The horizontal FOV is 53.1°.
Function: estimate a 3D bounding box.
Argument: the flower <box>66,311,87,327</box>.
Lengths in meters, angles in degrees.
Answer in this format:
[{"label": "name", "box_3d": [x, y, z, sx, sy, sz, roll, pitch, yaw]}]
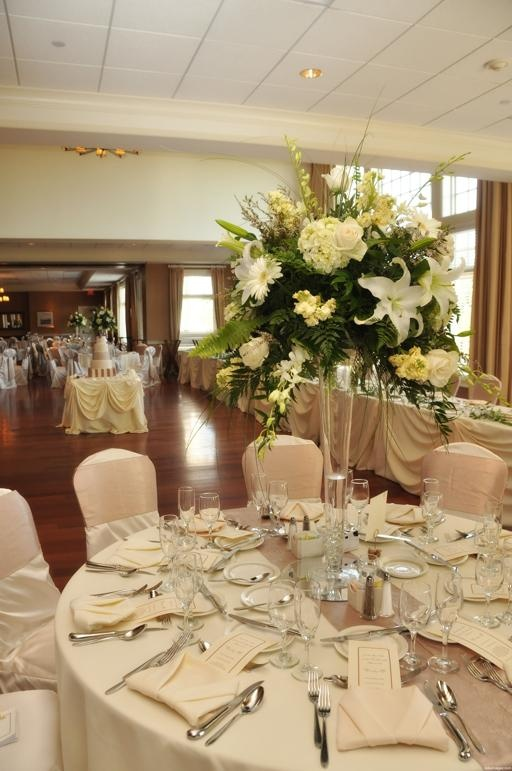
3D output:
[{"label": "flower", "box_3d": [-5.593, -2.047, 16.027, 0.402, 0.434, 1.009, -3, 2, -24]}]

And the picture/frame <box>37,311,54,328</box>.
[{"label": "picture/frame", "box_3d": [-10.871, -3.373, 26.401, 0.763, 0.981, 0.067, 2, -9, -21]}]

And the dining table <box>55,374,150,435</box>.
[{"label": "dining table", "box_3d": [-2.211, 0.287, 7.406, 0.943, 0.680, 0.910, -1, 6, -13]}]

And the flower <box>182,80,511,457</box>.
[{"label": "flower", "box_3d": [0.233, -0.200, 1.480, 0.758, 0.913, 0.748, 3, -9, -12]}]

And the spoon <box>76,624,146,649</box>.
[{"label": "spoon", "box_3d": [-0.336, 0.558, 1.136, 0.181, 0.034, 0.050, 0, -4, -19]}]

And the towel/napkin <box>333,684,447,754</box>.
[{"label": "towel/napkin", "box_3d": [0.200, 0.520, 0.806, 0.159, 0.040, 0.128, -2, 2, 3]}]

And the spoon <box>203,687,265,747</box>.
[{"label": "spoon", "box_3d": [-0.037, 0.536, 0.846, 0.027, 0.025, 0.161, 1, 14, 24]}]

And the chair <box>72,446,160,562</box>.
[{"label": "chair", "box_3d": [-0.641, 0.474, 2.445, 0.393, 0.705, 0.477, -4, 5, -26]}]
